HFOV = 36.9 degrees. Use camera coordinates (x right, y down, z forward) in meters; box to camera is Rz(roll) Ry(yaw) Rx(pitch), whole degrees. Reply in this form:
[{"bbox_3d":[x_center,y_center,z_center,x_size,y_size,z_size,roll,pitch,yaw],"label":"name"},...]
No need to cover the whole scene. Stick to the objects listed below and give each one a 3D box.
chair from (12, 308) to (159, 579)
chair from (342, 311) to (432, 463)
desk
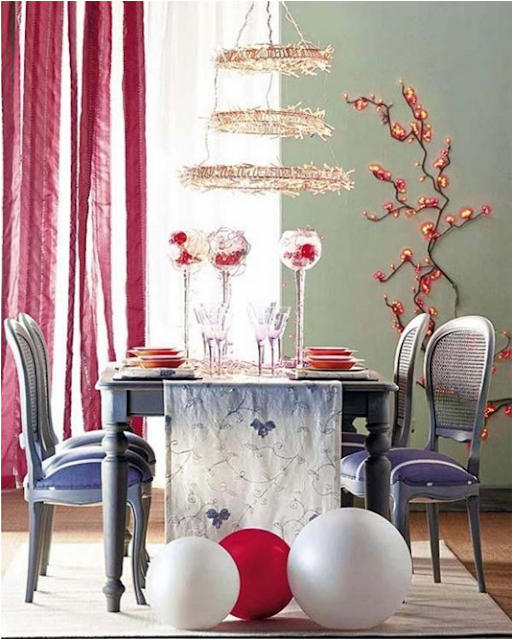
[{"bbox_3d":[-0.530,0.401,2.416,0.438,0.687,0.426,1,0,0],"label":"chair"},{"bbox_3d":[0.381,0.283,2.582,0.365,0.558,0.303,0,-5,-1],"label":"chair"},{"bbox_3d":[-0.045,0.489,2.079,0.802,0.658,0.217,0,-1,0],"label":"desk"}]
